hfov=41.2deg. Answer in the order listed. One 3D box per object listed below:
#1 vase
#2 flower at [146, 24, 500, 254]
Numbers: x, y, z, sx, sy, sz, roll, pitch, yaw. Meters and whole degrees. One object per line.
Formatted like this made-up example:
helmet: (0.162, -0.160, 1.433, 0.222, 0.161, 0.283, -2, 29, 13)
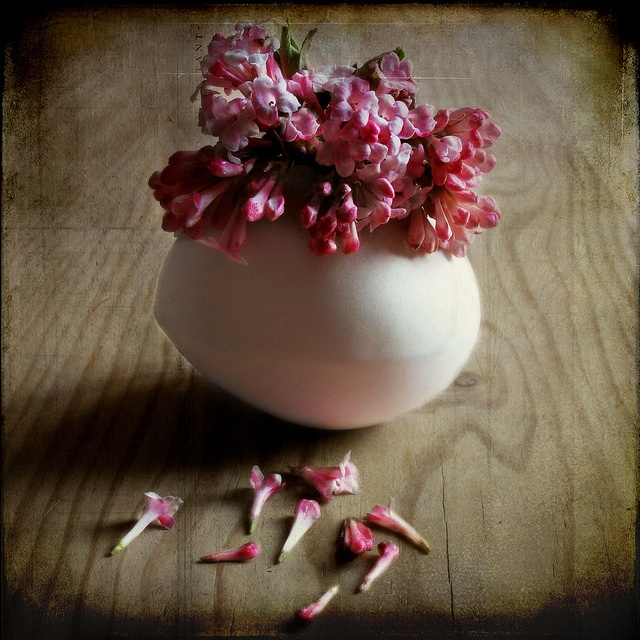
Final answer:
vase: (0.002, 0.002, 0.945, 0.263, 0.244, 0.214, 8, 96, 0)
flower: (-0.012, -0.180, 0.930, 0.233, 0.326, 0.229, 6, 78, 38)
